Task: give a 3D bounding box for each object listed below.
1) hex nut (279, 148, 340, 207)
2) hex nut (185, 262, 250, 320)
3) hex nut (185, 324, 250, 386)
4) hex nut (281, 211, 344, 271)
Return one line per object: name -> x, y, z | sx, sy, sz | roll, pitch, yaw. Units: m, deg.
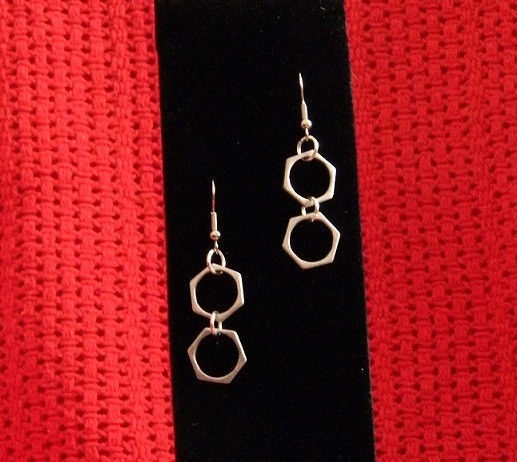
hex nut -> 0.066, -0.067, 1.087 | 0.069, 0.039, 0.076 | 7, 85, -1
hex nut -> -0.055, 0.079, 1.075 | 0.069, 0.044, 0.075 | 2, 85, -1
hex nut -> -0.054, 0.160, 1.065 | 0.076, 0.034, 0.071 | 5, 85, -1
hex nut -> 0.067, 0.012, 1.077 | 0.078, 0.045, 0.070 | -12, 85, -2
